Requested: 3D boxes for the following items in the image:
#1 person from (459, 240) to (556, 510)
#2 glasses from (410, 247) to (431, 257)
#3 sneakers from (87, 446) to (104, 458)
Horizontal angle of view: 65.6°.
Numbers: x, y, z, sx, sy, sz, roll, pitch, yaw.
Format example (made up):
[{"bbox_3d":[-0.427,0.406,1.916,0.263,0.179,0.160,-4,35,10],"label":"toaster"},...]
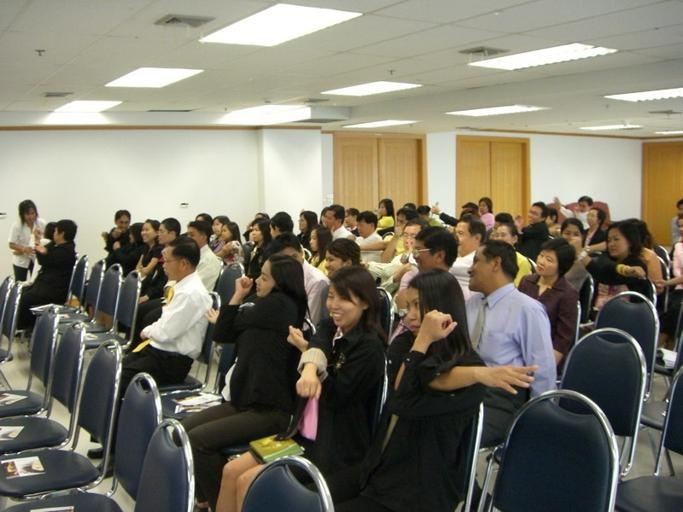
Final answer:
[{"bbox_3d":[0.728,0.617,3.000,0.733,1.307,0.584,-3,9,-1],"label":"person"},{"bbox_3d":[0.528,-0.029,3.558,0.081,0.064,0.205,1,1,-20],"label":"glasses"},{"bbox_3d":[-1.623,1.299,3.509,0.089,0.081,0.113,1,1,-31],"label":"sneakers"}]
